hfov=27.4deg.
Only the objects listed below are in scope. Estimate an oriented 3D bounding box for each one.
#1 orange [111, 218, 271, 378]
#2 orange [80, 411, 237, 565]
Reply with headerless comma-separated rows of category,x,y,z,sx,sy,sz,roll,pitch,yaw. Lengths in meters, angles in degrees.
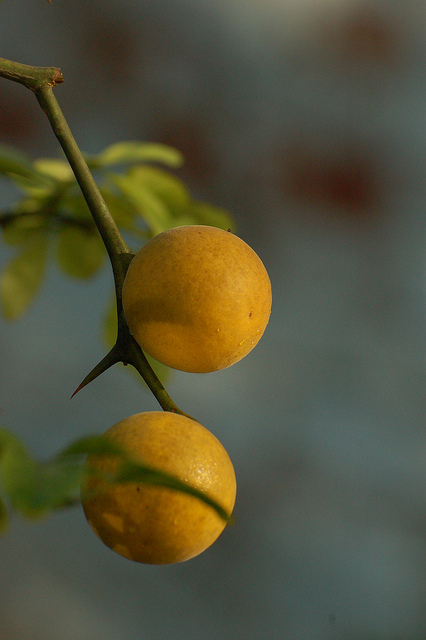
orange,-0.001,-0.021,0.423,0.076,0.079,0.078,-12,17,-41
orange,-0.020,0.065,0.401,0.061,0.070,0.094,-1,7,21
